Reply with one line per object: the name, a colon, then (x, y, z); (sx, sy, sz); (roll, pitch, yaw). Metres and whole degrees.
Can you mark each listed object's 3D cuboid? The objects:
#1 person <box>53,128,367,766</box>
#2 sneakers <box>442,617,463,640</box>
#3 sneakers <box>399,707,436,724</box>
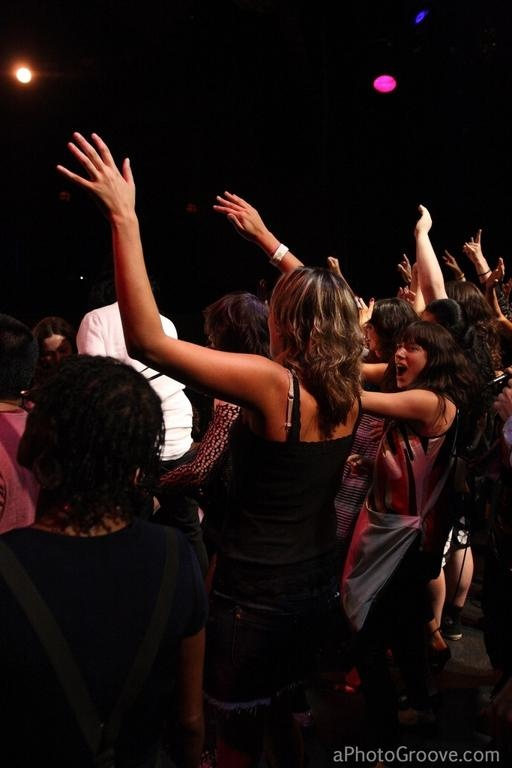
person: (-0.019, 0.259, 1.290); (0.654, 1.509, 0.265); (-11, 11, -41)
sneakers: (0.897, 1.126, 2.690); (0.054, 0.060, 0.140); (1, -1, 5)
sneakers: (0.569, 1.188, 2.092); (0.116, 0.074, 0.046); (-3, -3, -4)
